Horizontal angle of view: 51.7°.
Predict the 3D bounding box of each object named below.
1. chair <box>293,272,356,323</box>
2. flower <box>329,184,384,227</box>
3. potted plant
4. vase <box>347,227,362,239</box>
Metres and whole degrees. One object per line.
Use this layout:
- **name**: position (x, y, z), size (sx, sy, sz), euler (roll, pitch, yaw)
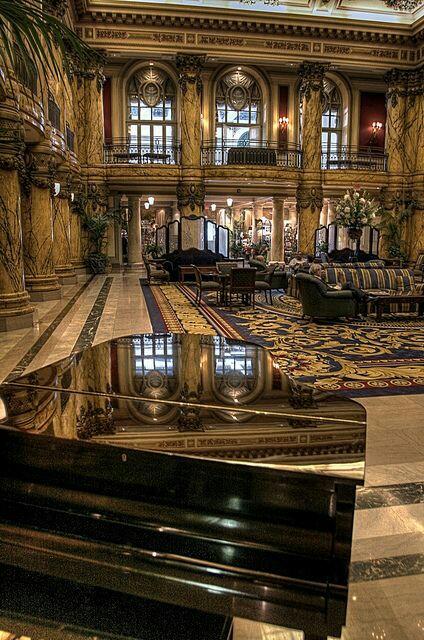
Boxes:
- **chair**: position (2.055, -0.483, 8.051), size (0.838, 0.808, 0.920), euler (-2, 9, -8)
- **flower**: position (3.417, -2.586, 10.350), size (0.866, 0.821, 0.491), euler (-1, 6, 4)
- **potted plant**: position (-4.298, -3.097, 15.900), size (1.125, 2.872, 1.904), euler (-3, 6, -13)
- **vase**: position (3.518, -2.105, 10.735), size (0.302, 0.255, 0.323), euler (-1, 12, -1)
